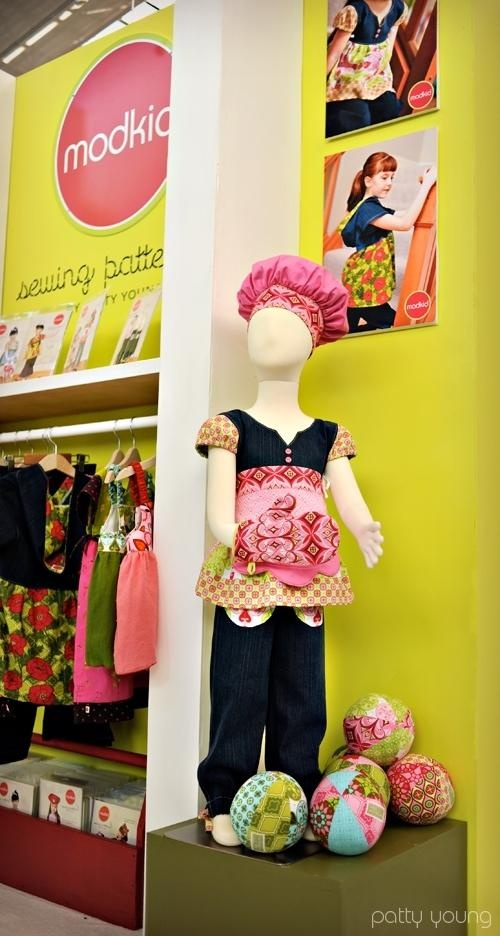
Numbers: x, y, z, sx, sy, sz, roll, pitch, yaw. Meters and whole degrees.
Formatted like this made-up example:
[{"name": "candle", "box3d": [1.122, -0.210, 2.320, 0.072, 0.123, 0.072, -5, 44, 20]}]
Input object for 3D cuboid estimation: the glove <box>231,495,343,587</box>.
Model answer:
[{"name": "glove", "box3d": [0.070, 0.132, 1.157, 0.144, 0.156, 0.062, -5, 0, -3]}]
